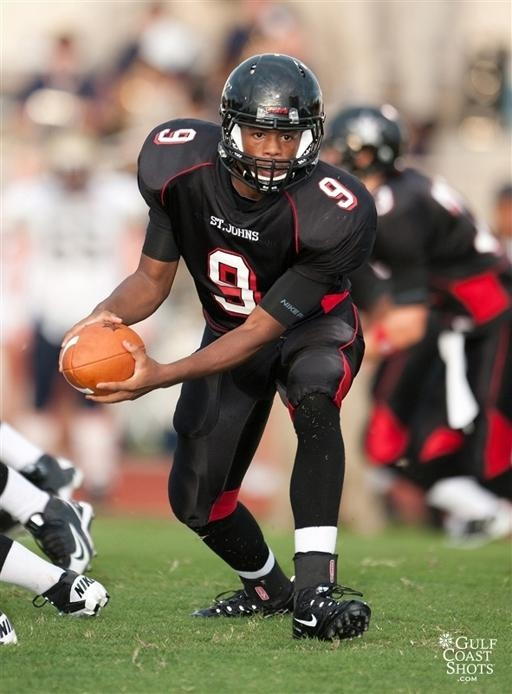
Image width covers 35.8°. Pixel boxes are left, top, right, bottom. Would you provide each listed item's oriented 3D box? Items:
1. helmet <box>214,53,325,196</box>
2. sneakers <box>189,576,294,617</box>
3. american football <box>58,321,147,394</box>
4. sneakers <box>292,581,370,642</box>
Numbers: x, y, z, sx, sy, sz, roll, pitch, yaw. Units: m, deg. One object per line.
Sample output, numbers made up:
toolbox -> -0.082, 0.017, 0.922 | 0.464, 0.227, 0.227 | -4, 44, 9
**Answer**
helmet -> 0.029, -0.634, 2.182 | 0.312, 0.310, 0.345 | -2, 30, -13
sneakers -> -0.011, 0.770, 2.467 | 0.375, 0.141, 0.113 | 1, -10, 1
american football -> -0.390, 0.033, 2.031 | 0.204, 0.139, 0.198 | -7, -7, -5
sneakers -> 0.183, 0.661, 1.951 | 0.161, 0.139, 0.192 | 2, -7, -6
